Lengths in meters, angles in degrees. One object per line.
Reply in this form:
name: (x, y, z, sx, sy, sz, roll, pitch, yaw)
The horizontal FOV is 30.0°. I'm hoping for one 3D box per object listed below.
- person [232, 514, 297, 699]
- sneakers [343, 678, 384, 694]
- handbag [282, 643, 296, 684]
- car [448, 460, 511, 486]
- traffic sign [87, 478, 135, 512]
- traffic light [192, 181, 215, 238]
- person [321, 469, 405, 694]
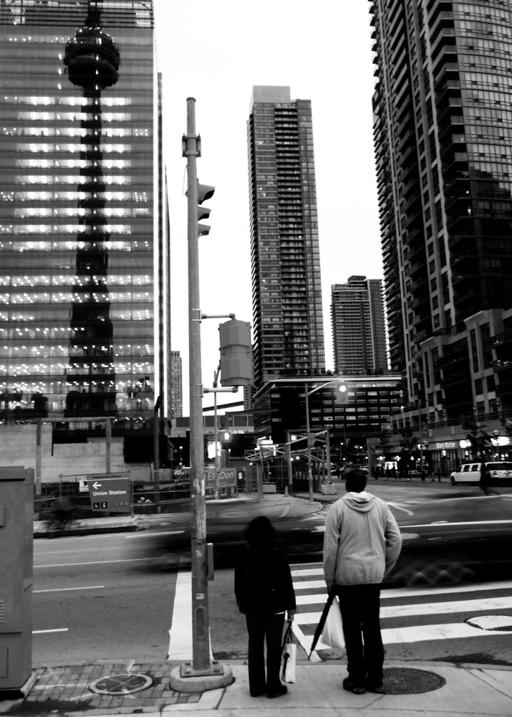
person: (0.087, 2.369, 9.136, 0.594, 1.654, 0.393, -2, -6, 13)
sneakers: (1.000, 3.094, 8.939, 0.368, 0.195, 0.140, -6, 1, -1)
handbag: (0.304, 2.850, 8.918, 0.131, 0.352, 0.106, -2, -6, 9)
car: (11.692, 5.907, 48.559, 1.400, 1.225, 3.536, 2, -4, -17)
traffic sign: (-4.415, 4.303, 29.066, 1.588, 1.555, 0.970, 1, -8, -13)
traffic light: (-0.583, -1.688, 10.810, 0.175, 0.727, 0.134, 4, -22, -7)
person: (1.038, 2.122, 9.203, 0.747, 2.078, 0.418, 1, -7, -20)
